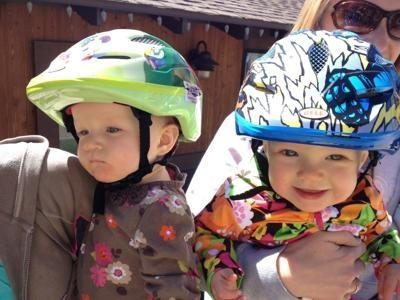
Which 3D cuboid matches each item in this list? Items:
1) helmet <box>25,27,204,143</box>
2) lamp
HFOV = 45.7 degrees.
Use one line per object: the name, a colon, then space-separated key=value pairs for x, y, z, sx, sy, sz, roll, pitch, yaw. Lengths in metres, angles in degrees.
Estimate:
helmet: x=-0.436 y=-0.309 z=2.439 sx=0.675 sy=0.465 sz=0.478 roll=11 pitch=-13 yaw=-41
lamp: x=-0.015 y=-1.630 z=8.694 sx=0.506 sy=0.787 sz=0.661 roll=1 pitch=-1 yaw=-3
